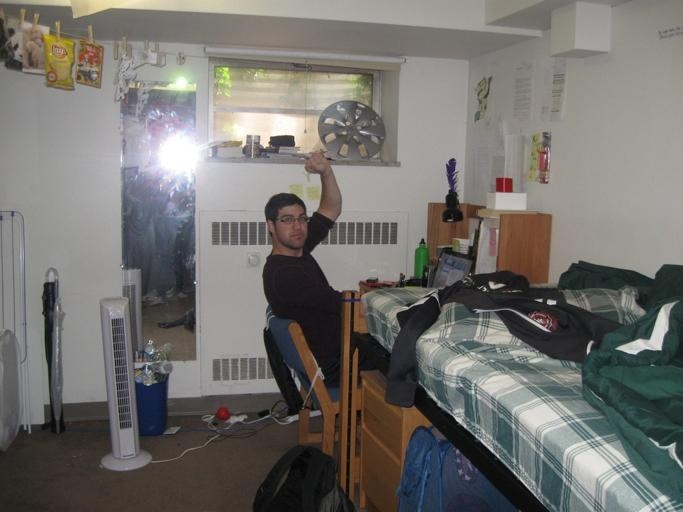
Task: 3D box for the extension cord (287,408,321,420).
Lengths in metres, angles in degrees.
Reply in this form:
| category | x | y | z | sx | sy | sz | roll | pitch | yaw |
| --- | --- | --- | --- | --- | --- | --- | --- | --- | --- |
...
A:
| category | x | y | z | sx | sy | sz | roll | pitch | yaw |
| --- | --- | --- | --- | --- | --- | --- | --- | --- | --- |
| extension cord | -0.255 | 1.089 | 3.514 | 0.193 | 0.056 | 0.218 | -1 | 1 | -16 |

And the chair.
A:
| category | x | y | z | sx | sy | sz | roll | pitch | yaw |
| --- | --- | --- | --- | --- | --- | --- | --- | --- | --- |
| chair | -0.146 | 0.776 | 2.896 | 0.278 | 0.927 | 0.605 | 0 | 11 | -1 |

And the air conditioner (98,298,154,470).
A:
| category | x | y | z | sx | sy | sz | roll | pitch | yaw |
| --- | --- | --- | --- | --- | --- | --- | --- | --- | --- |
| air conditioner | -1.282 | 0.741 | 2.955 | 0.273 | 0.983 | 0.270 | -6 | 13 | -28 |

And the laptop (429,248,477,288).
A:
| category | x | y | z | sx | sy | sz | roll | pitch | yaw |
| --- | --- | --- | --- | --- | --- | --- | --- | --- | --- |
| laptop | 0.752 | 0.082 | 3.436 | 0.095 | 0.292 | 0.280 | 24 | -10 | -37 |

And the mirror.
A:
| category | x | y | z | sx | sy | sz | roll | pitch | yaw |
| --- | --- | --- | --- | --- | --- | --- | --- | --- | --- |
| mirror | -1.291 | -0.229 | 3.655 | 0.505 | 1.966 | 0.275 | 1 | 11 | 3 |
